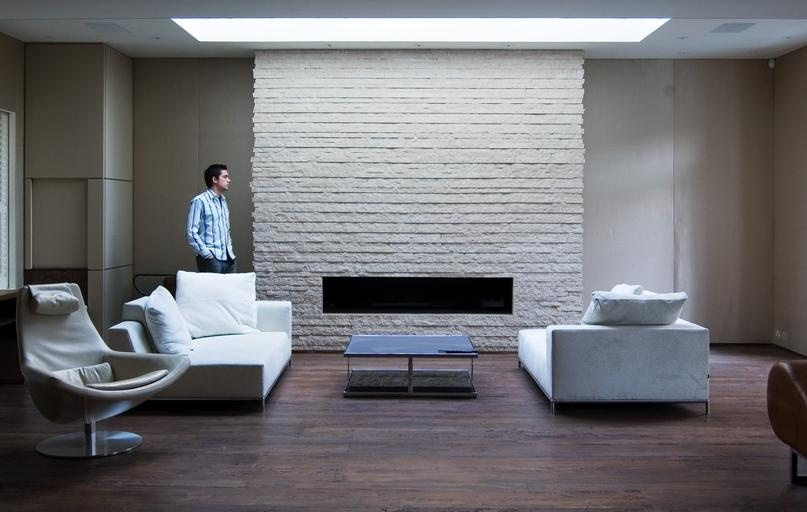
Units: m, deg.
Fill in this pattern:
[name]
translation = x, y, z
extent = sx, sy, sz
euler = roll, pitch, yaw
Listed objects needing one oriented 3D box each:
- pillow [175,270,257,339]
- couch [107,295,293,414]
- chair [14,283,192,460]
[pillow]
translation = -2.051, 0.554, 6.761
extent = 0.772, 0.591, 0.261
euler = 2, -11, -28
[couch]
translation = -1.972, 1.050, 6.538
extent = 1.270, 0.803, 1.658
euler = 0, -1, -2
[chair]
translation = -2.737, 0.989, 5.455
extent = 1.269, 1.429, 0.762
euler = 2, 7, 11
